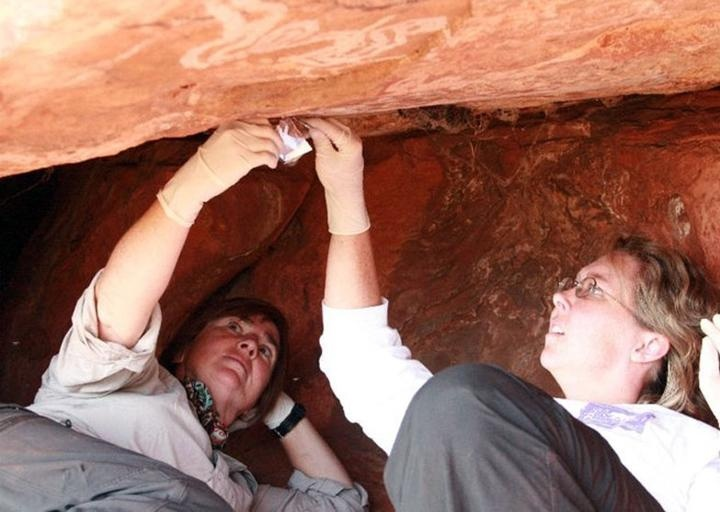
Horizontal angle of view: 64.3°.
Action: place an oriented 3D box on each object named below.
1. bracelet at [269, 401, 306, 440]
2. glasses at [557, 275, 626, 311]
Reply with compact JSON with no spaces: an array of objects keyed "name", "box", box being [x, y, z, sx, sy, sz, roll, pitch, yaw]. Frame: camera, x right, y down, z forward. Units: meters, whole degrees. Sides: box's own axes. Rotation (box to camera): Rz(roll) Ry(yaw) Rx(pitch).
[{"name":"bracelet","box":[-0.317,0.737,2.606,0.159,0.061,0.139,-38,-10,-5]},{"name":"glasses","box":[0.764,0.121,1.860,0.134,0.037,0.105,18,-8,-17]}]
